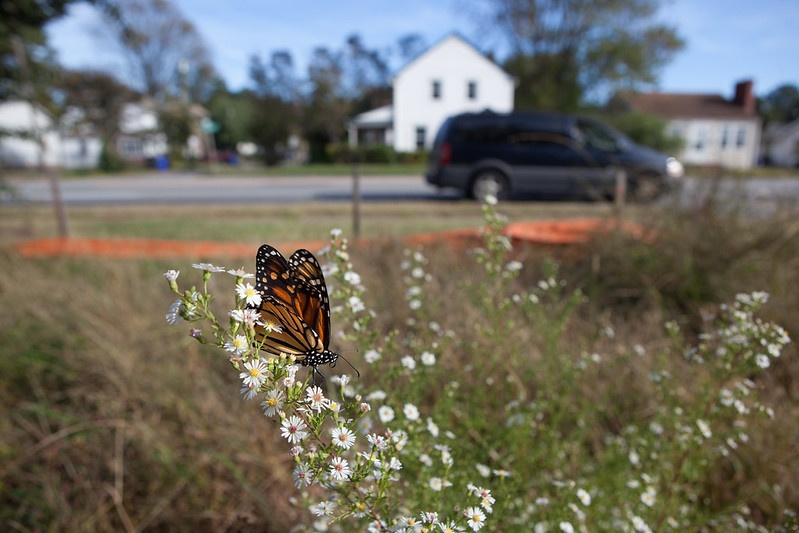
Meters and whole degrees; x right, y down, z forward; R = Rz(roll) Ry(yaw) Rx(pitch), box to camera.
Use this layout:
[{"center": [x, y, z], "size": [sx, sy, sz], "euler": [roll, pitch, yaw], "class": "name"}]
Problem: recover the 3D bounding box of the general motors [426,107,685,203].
[{"center": [0.848, -0.718, 4.934], "size": [1.322, 0.609, 0.615], "euler": [-1, 20, 2], "class": "general motors"}]
